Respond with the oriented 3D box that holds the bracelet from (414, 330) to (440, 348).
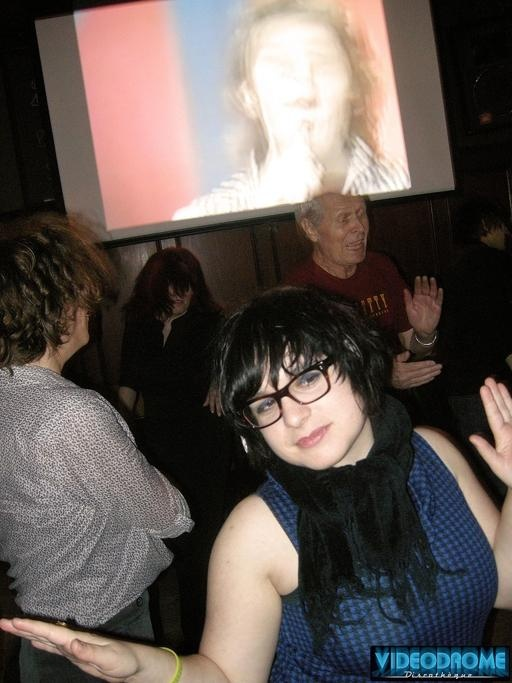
[{"bbox_3d":[0.645,-0.006,2.107,0.058,0.072,0.043,6,54,16],"label":"bracelet"}]
